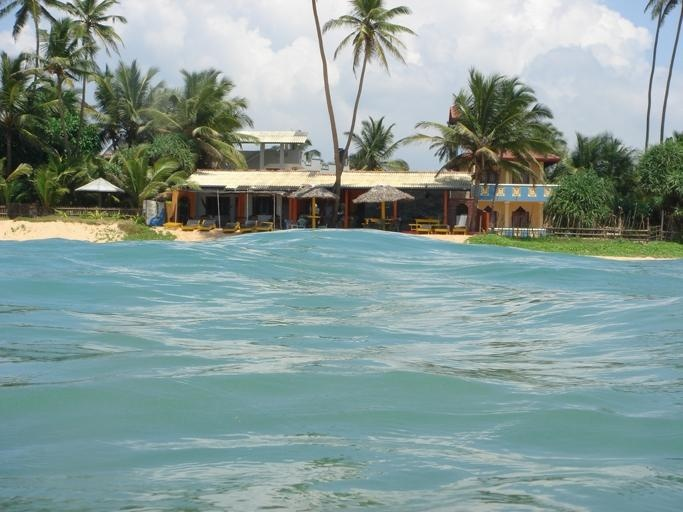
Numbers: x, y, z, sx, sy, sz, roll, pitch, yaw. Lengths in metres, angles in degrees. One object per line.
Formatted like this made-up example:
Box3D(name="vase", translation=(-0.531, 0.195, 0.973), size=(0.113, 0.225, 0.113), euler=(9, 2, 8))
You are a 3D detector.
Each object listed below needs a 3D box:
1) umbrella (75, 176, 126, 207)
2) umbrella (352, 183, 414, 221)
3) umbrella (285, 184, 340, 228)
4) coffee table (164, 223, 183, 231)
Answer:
Box3D(name="umbrella", translation=(-8.357, -2.356, 34.794), size=(1.653, 0.939, 1.468), euler=(-1, -2, -3))
Box3D(name="umbrella", translation=(1.332, -1.886, 34.361), size=(1.698, 0.854, 1.511), euler=(0, 1, -2))
Box3D(name="umbrella", translation=(-1.001, -1.738, 34.649), size=(1.863, 1.327, 1.671), euler=(0, 0, 3))
Box3D(name="coffee table", translation=(-5.709, -0.998, 34.150), size=(0.645, 0.144, 1.258), euler=(-1, 13, -12))
